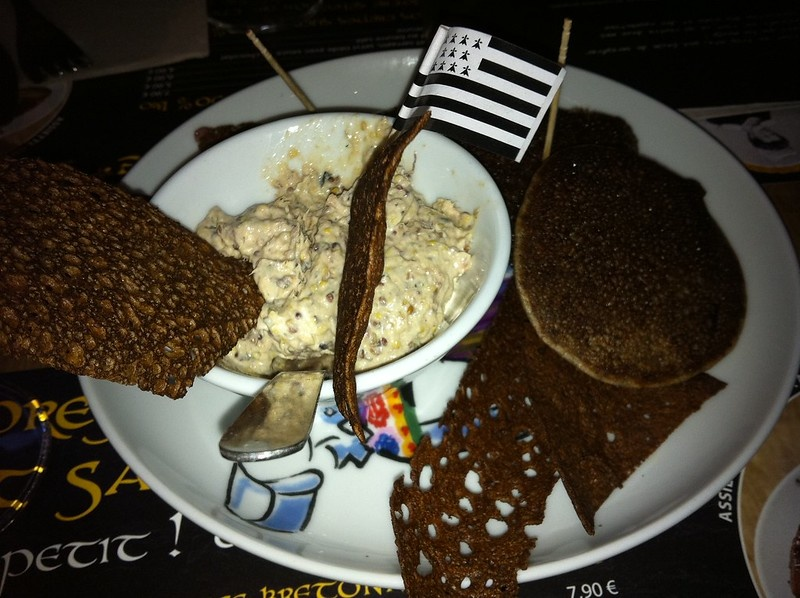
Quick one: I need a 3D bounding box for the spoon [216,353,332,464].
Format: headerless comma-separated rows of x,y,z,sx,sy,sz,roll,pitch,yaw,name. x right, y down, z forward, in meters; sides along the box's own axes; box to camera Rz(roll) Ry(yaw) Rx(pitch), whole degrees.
-0.308,0.301,1.884,0.248,0.525,0.075,-9,104,8,spoon

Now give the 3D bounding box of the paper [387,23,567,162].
0.189,-0.549,1.976,0.410,0.050,0.497,17,60,16,paper
